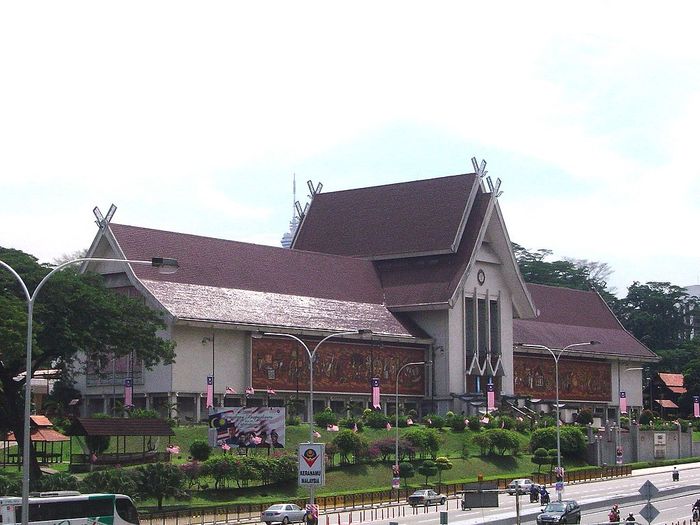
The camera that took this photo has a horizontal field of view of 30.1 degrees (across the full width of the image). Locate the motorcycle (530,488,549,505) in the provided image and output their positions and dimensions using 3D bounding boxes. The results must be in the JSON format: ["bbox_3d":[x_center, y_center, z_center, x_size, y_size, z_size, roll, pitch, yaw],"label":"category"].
[{"bbox_3d":[13.238,16.682,90.906,1.332,1.303,1.303,2,-4,-30],"label":"motorcycle"}]

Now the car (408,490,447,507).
[{"bbox_3d":[5.356,16.791,91.599,1.294,1.236,3.321,-9,-15,33],"label":"car"}]
